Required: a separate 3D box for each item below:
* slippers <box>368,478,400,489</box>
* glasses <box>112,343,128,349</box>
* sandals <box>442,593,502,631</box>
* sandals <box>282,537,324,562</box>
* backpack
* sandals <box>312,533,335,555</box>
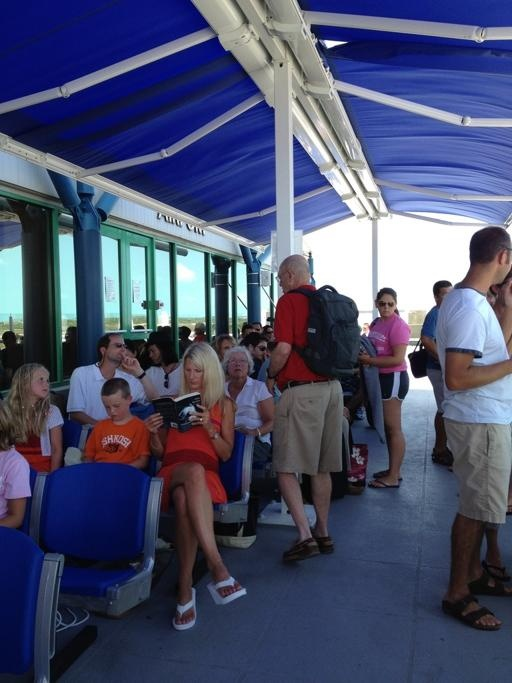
[{"bbox_3d":[1.104,1.238,4.692,0.235,0.051,0.095,3,-3,-4],"label":"slippers"},{"bbox_3d":[-1.038,0.031,4.090,0.065,0.036,0.078,4,-10,-39],"label":"glasses"},{"bbox_3d":[0.974,1.213,2.436,0.105,0.075,0.198,-9,-3,-36],"label":"sandals"},{"bbox_3d":[0.269,1.214,3.172,0.267,0.096,0.112,-26,33,29],"label":"sandals"},{"bbox_3d":[0.575,-0.048,3.239,0.554,0.514,0.354,6,5,27],"label":"backpack"},{"bbox_3d":[0.413,1.243,3.301,0.069,0.074,0.183,-1,3,-11],"label":"sandals"}]
